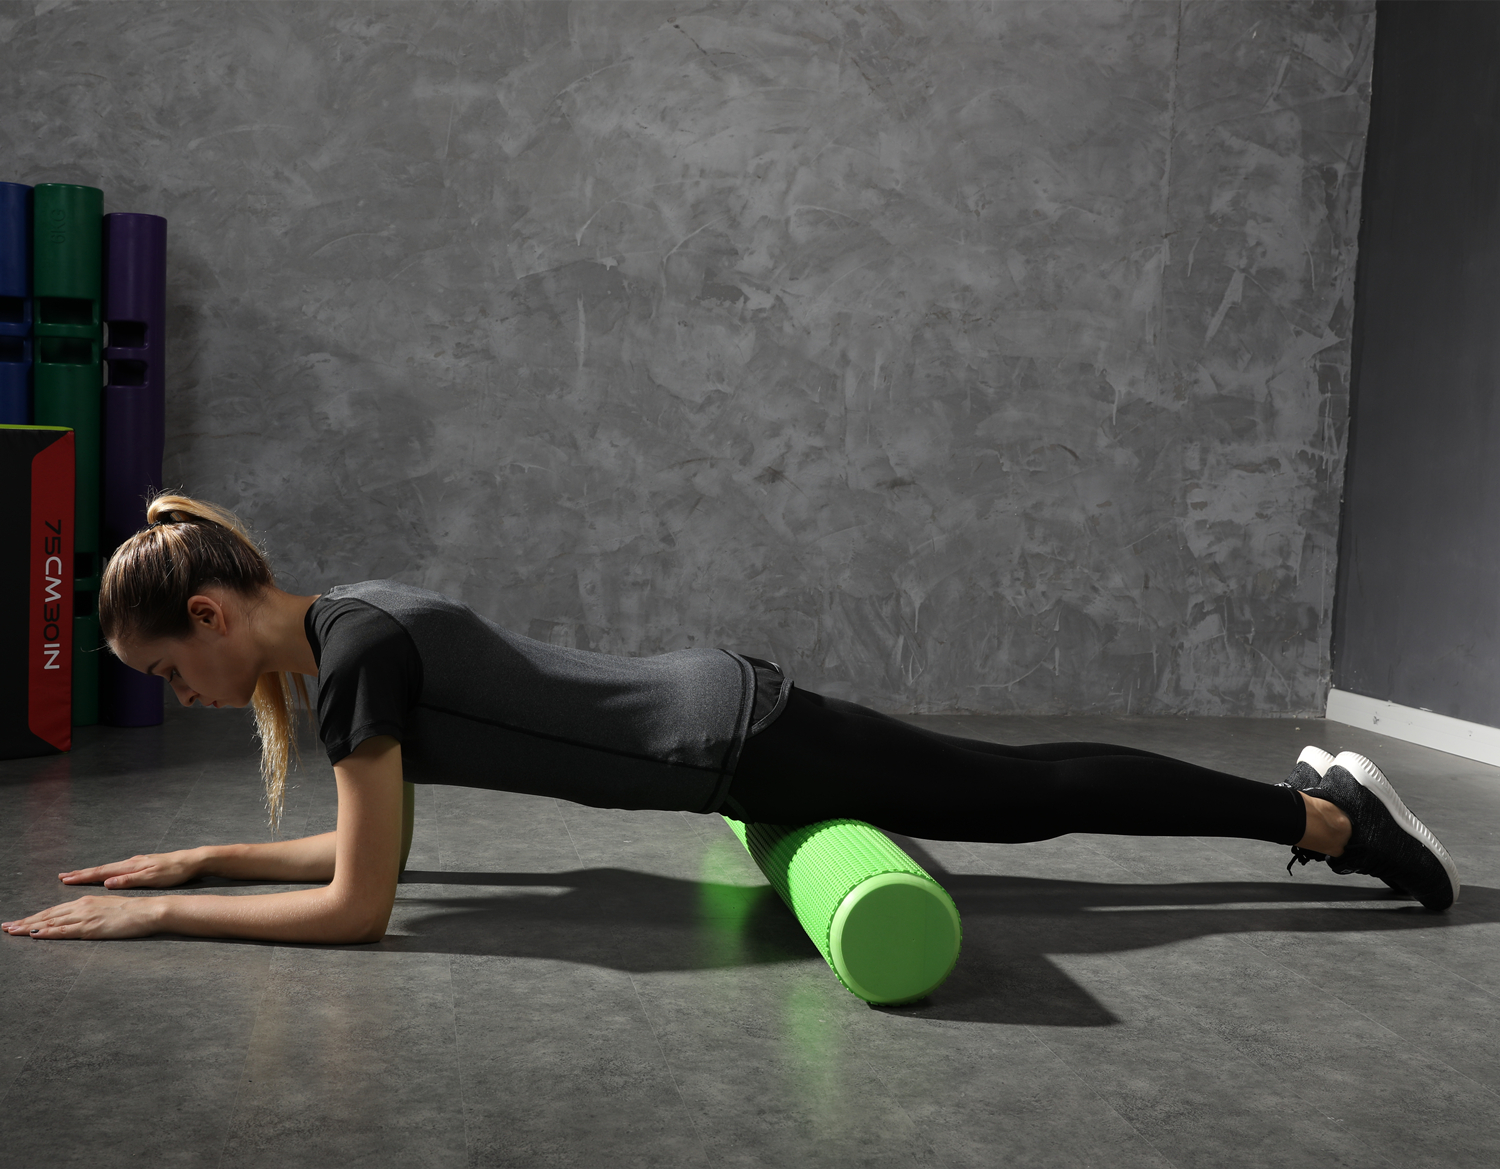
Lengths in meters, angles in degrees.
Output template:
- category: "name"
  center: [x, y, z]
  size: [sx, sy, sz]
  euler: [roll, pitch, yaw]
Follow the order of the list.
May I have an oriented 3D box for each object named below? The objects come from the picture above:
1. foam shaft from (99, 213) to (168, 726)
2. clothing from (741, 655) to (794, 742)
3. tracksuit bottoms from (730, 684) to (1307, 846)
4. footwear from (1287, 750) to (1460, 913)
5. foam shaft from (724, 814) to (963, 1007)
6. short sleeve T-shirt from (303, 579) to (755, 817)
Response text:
- category: "foam shaft"
  center: [-1.905, -0.376, 3.548]
  size: [0.248, 1.476, 0.242]
  euler: [-2, 14, -41]
- category: "clothing"
  center: [0.019, 0.165, 1.955]
  size: [0.044, 0.119, 0.146]
  euler: [17, 30, -21]
- category: "tracksuit bottoms"
  center: [0.509, 0.327, 2.079]
  size: [1.089, 0.254, 0.323]
  euler: [9, -17, -6]
- category: "footwear"
  center: [1.226, 0.500, 2.327]
  size: [0.137, 0.311, 0.106]
  euler: [-43, 5, -8]
- category: "foam shaft"
  center: [0.173, 0.497, 1.879]
  size: [0.210, 0.217, 0.381]
  euler: [1, 5, -14]
- category: "short sleeve T-shirt"
  center: [-0.325, 0.207, 1.839]
  size: [0.590, 0.221, 0.366]
  euler: [8, 0, -9]
